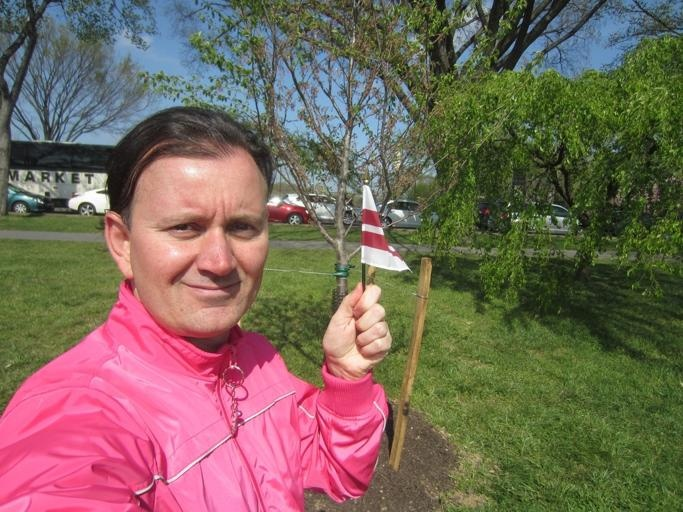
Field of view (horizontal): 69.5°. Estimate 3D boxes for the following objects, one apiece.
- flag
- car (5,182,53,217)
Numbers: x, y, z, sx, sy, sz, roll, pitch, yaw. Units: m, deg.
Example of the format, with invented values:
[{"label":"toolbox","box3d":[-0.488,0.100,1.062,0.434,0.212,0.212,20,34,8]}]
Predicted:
[{"label":"flag","box3d":[0.265,-0.199,3.168,0.254,0.071,0.740,-1,56,6]},{"label":"car","box3d":[-12.107,-2.138,18.900,1.504,0.973,1.001,0,4,-9]}]
